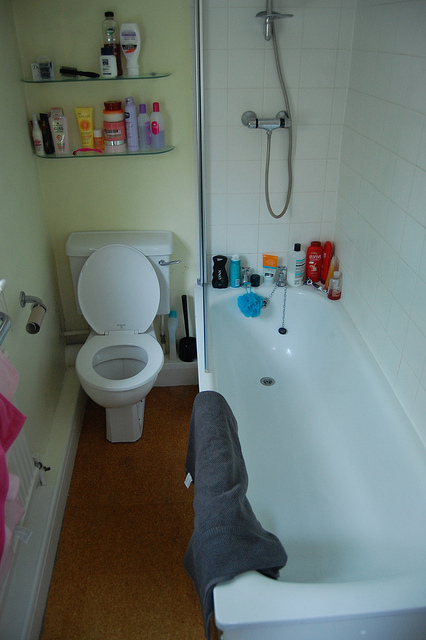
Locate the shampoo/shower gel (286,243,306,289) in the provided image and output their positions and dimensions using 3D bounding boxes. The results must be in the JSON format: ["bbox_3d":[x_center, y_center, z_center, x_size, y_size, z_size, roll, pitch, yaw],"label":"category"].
[{"bbox_3d":[0.482,-0.322,2.327,0.107,0.258,0.084,5,24,10],"label":"shampoo/shower gel"}]

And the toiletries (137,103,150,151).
[{"bbox_3d":[-0.331,-0.924,1.935,0.064,0.200,0.081,-9,40,-14],"label":"toiletries"}]

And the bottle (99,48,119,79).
[{"bbox_3d":[-0.466,-1.134,1.793,0.079,0.117,0.089,-5,27,-12],"label":"bottle"}]

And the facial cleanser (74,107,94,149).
[{"bbox_3d":[-0.608,-0.922,1.938,0.089,0.204,0.056,-9,63,-16],"label":"facial cleanser"}]

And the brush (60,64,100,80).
[{"bbox_3d":[-0.596,-1.101,1.806,0.172,0.044,0.098,-6,31,-11],"label":"brush"}]

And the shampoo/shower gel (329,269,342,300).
[{"bbox_3d":[0.667,-0.188,2.193,0.056,0.140,0.075,4,41,5],"label":"shampoo/shower gel"}]

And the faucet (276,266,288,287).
[{"bbox_3d":[0.405,-0.263,2.412,0.079,0.121,0.092,11,32,19],"label":"faucet"}]

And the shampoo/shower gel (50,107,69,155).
[{"bbox_3d":[-0.722,-0.883,1.901,0.078,0.195,0.098,-10,26,-22],"label":"shampoo/shower gel"}]

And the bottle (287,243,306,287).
[{"bbox_3d":[0.482,-0.322,2.327,0.107,0.258,0.084,5,24,10],"label":"bottle"}]

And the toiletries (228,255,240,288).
[{"bbox_3d":[0.132,-0.282,2.352,0.063,0.198,0.060,2,23,4],"label":"toiletries"}]

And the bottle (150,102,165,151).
[{"bbox_3d":[-0.261,-0.928,1.938,0.082,0.201,0.054,-16,28,-32],"label":"bottle"}]

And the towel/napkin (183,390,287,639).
[{"bbox_3d":[0.060,0.529,1.106,0.157,0.271,0.602,-10,28,1],"label":"towel/napkin"}]

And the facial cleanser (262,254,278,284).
[{"bbox_3d":[0.337,-0.306,2.375,0.091,0.216,0.063,4,27,8],"label":"facial cleanser"}]

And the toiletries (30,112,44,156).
[{"bbox_3d":[-0.821,-0.849,1.869,0.066,0.166,0.042,8,24,17],"label":"toiletries"}]

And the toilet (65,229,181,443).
[{"bbox_3d":[-0.327,-0.014,2.230,0.513,1.115,0.993,-1,36,-3],"label":"toilet"}]

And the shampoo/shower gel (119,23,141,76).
[{"bbox_3d":[-0.362,-1.183,1.783,0.083,0.198,0.052,-6,24,-14],"label":"shampoo/shower gel"}]

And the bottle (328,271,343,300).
[{"bbox_3d":[0.666,-0.182,2.194,0.054,0.134,0.072,3,40,4],"label":"bottle"}]

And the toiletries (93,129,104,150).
[{"bbox_3d":[-0.549,-0.868,1.937,0.027,0.084,0.033,-18,52,-26],"label":"toiletries"}]

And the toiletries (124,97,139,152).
[{"bbox_3d":[-0.387,-0.914,1.904,0.055,0.221,0.036,-5,23,-12],"label":"toiletries"}]
